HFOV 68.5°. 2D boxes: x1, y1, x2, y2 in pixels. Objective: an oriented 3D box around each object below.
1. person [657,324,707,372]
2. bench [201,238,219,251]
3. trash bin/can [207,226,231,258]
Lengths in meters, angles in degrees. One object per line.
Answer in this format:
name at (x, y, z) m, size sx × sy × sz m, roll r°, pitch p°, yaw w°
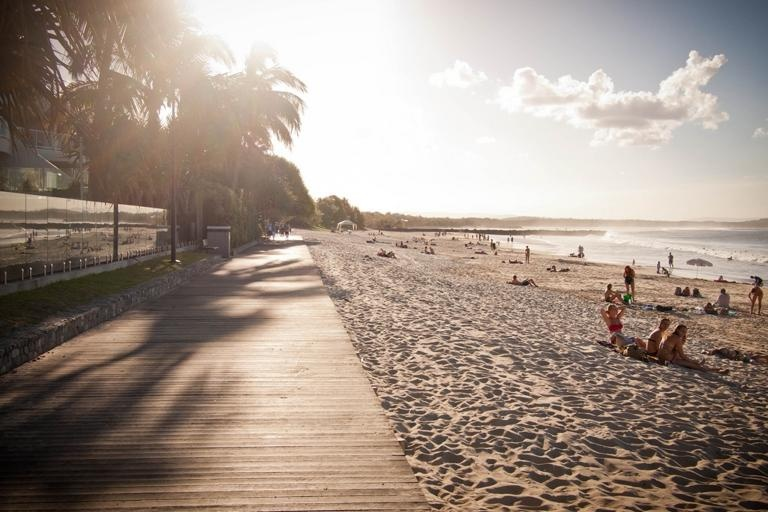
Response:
person at (7.803, 2.366, 14.577) m, size 1.503 × 1.030 × 0.610 m, roll 9°, pitch 0°, yaw -1°
bench at (-9.168, -0.471, 29.150) m, size 1.182 × 0.650 × 0.847 m, roll 3°, pitch 0°, yaw -9°
trash bin/can at (-8.429, -0.664, 28.857) m, size 1.136 × 1.524 × 0.823 m, roll 1°, pitch 6°, yaw -6°
